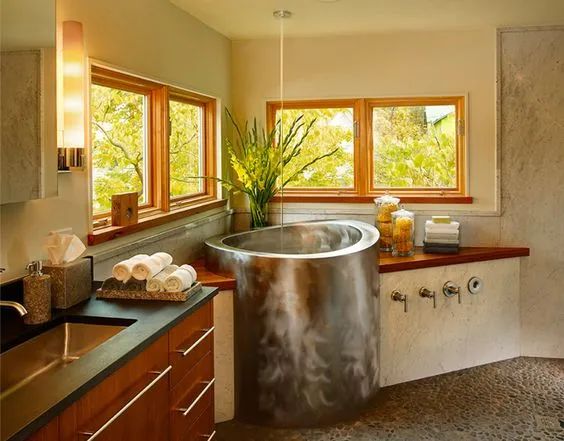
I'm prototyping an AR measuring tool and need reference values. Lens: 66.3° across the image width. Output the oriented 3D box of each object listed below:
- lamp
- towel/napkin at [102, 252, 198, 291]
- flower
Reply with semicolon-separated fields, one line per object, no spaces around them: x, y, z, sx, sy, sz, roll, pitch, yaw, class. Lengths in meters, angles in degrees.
-1.002;-0.593;2.098;0.102;0.689;0.125;4;9;-21;lamp
-0.592;0.239;2.066;0.353;0.136;0.245;1;8;12;towel/napkin
-0.199;-0.440;4.152;1.162;1.061;1.048;0;1;-15;flower
